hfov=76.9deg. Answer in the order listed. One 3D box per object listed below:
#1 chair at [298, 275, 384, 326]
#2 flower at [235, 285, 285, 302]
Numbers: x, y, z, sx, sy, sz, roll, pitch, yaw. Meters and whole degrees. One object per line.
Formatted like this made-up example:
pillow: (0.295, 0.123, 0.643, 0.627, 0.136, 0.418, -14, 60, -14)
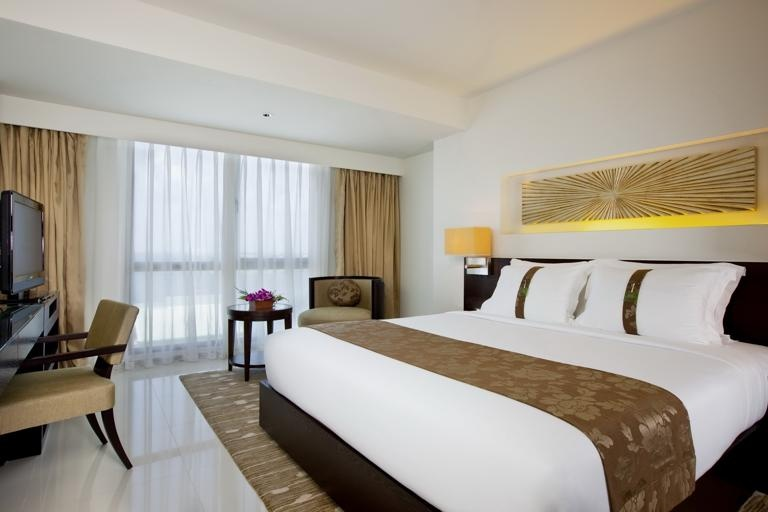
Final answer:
chair: (-0.496, 0.511, 6.111, 0.731, 0.668, 0.705, -1, -8, 8)
flower: (-1.395, 0.435, 5.372, 0.344, 0.119, 0.344, 6, -11, -38)
